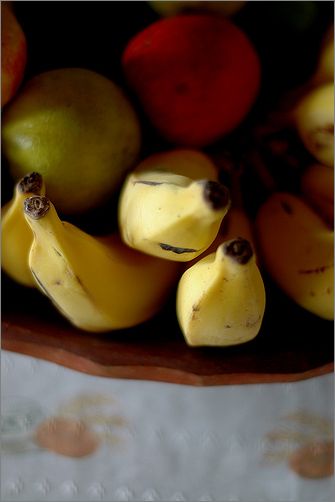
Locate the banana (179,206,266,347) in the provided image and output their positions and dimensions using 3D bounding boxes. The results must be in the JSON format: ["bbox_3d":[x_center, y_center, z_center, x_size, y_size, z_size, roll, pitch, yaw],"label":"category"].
[{"bbox_3d":[0.036,0.016,0.364,0.052,0.081,0.030,17,38,15],"label":"banana"}]

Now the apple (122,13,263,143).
[{"bbox_3d":[0.017,-0.125,0.396,0.101,0.078,0.063,6,58,-8],"label":"apple"}]

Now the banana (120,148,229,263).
[{"bbox_3d":[-0.007,-0.031,0.348,0.059,0.053,0.086,-1,41,-15],"label":"banana"}]
